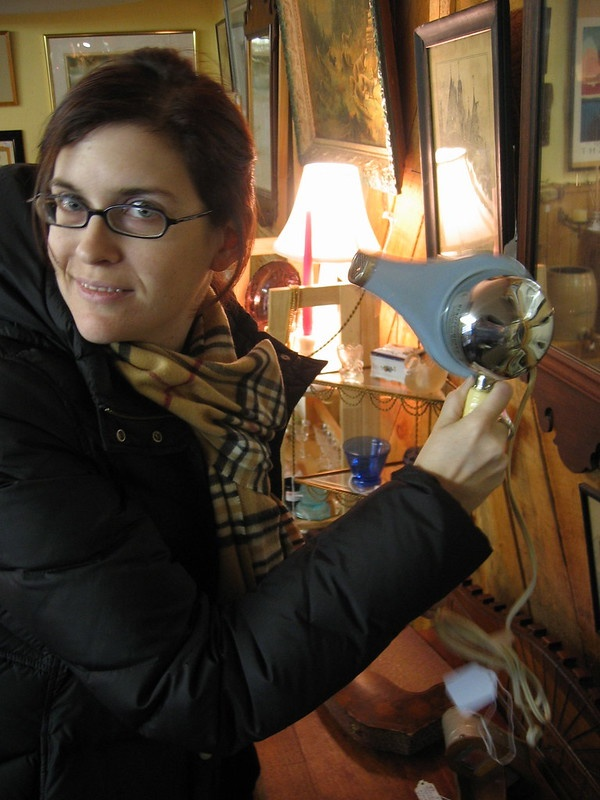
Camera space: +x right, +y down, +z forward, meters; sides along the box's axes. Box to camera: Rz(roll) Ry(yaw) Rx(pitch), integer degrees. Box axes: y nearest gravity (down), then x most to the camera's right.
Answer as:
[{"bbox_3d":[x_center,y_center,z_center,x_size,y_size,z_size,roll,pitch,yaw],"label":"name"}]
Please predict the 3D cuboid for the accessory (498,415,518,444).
[{"bbox_3d":[0.222,0.033,0.685,0.022,0.027,0.025,-12,9,15],"label":"accessory"}]

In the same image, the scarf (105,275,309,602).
[{"bbox_3d":[-0.145,0.054,0.954,0.293,0.411,0.131,-10,0,-34],"label":"scarf"}]

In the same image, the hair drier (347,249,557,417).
[{"bbox_3d":[0.156,-0.078,0.658,0.203,0.137,0.097,26,15,7],"label":"hair drier"}]
